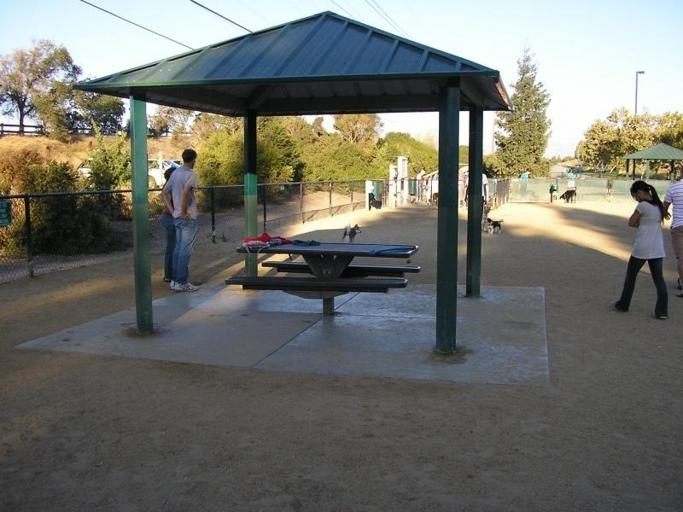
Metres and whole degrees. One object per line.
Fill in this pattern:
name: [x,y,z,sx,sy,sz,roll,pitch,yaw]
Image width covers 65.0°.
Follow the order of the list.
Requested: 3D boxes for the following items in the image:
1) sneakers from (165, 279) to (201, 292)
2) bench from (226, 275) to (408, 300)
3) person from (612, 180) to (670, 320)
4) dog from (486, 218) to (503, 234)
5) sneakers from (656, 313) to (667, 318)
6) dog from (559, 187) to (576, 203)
sneakers: [-2.686,0.492,9.140,0.509,0.214,0.191,-3,13,-16]
bench: [-0.321,0.375,6.734,1.305,0.165,0.807,0,1,13]
person: [4.517,-0.167,7.964,0.679,1.886,1.539,5,10,30]
dog: [4.934,-0.957,17.479,0.443,0.468,0.717,1,9,10]
sneakers: [4.381,0.834,7.357,0.130,0.051,0.058,-7,9,-14]
dog: [15.654,-4.183,36.955,0.788,0.996,1.902,3,9,21]
